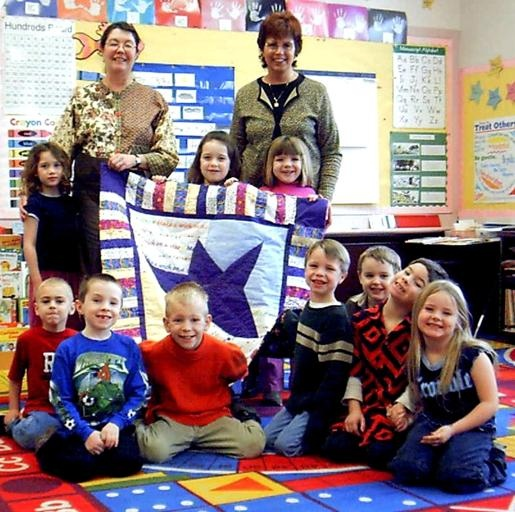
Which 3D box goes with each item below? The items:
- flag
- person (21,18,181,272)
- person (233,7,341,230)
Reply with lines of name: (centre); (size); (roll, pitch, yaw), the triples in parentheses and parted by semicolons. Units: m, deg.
flag: (-0.223, 0.105, 2.492); (1.119, 0.885, 0.085); (9, 18, 23)
person: (-0.710, -0.340, 2.702); (0.767, 1.374, 0.428); (-2, 19, -3)
person: (0.111, -0.512, 2.893); (0.632, 1.260, 0.440); (6, 21, 17)
